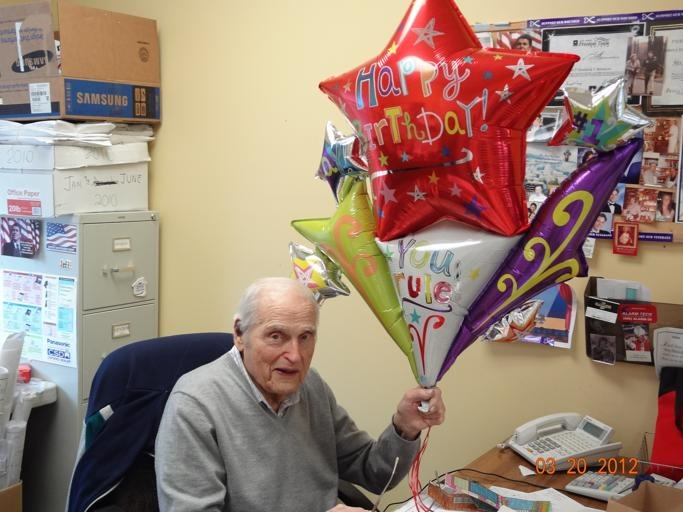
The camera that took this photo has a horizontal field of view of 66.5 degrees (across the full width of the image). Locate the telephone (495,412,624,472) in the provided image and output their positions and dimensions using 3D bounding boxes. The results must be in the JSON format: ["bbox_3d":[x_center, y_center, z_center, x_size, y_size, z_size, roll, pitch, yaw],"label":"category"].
[{"bbox_3d":[0.810,0.677,1.893,0.276,0.109,0.216,-3,10,-19],"label":"telephone"}]
